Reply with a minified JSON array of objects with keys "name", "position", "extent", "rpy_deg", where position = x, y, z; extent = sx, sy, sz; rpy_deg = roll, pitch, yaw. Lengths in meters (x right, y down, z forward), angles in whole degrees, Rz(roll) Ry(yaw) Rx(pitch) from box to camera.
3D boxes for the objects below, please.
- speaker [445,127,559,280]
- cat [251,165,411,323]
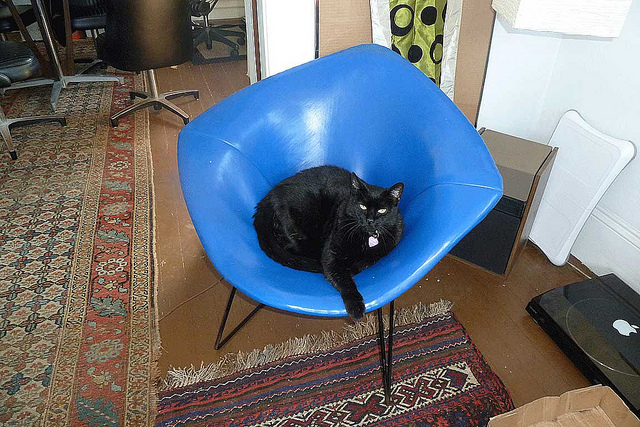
[{"name":"speaker","position":[1.032,-0.065,2.554],"extent":[0.422,0.654,0.524],"rpy_deg":[18,41,22]},{"name":"cat","position":[0.040,0.047,1.922],"extent":[0.613,0.418,0.739],"rpy_deg":[-15,49,-11]}]
